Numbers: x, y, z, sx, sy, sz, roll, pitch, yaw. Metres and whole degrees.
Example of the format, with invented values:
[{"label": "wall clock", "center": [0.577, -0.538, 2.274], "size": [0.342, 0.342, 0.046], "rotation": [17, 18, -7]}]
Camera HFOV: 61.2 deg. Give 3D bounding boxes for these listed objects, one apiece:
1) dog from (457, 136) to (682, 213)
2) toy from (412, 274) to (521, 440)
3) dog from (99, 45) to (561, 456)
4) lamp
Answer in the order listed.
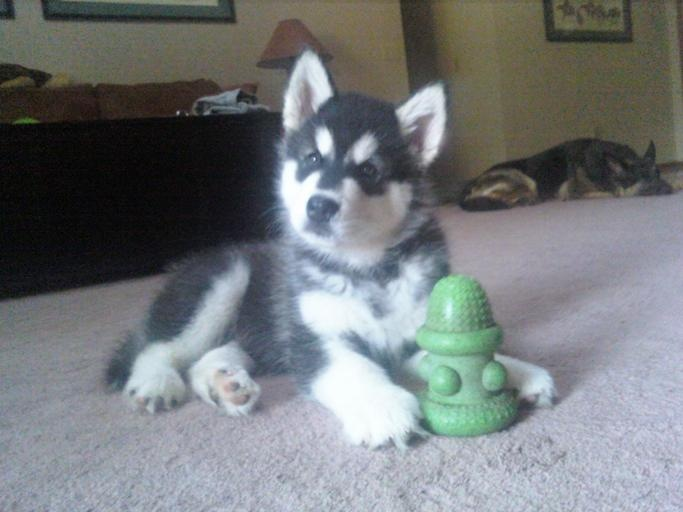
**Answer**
[{"label": "dog", "center": [1.744, -0.620, 4.479], "size": [1.166, 0.401, 0.814], "rotation": [-5, 1, 20]}, {"label": "toy", "center": [0.341, 0.263, 1.641], "size": [0.331, 0.422, 0.345], "rotation": [-5, 7, -12]}, {"label": "dog", "center": [-0.118, -0.091, 1.793], "size": [1.364, 1.089, 0.709], "rotation": [2, 8, 30]}, {"label": "lamp", "center": [-0.403, -1.855, 5.111], "size": [0.630, 0.396, 0.608], "rotation": [3, 4, -25]}]
